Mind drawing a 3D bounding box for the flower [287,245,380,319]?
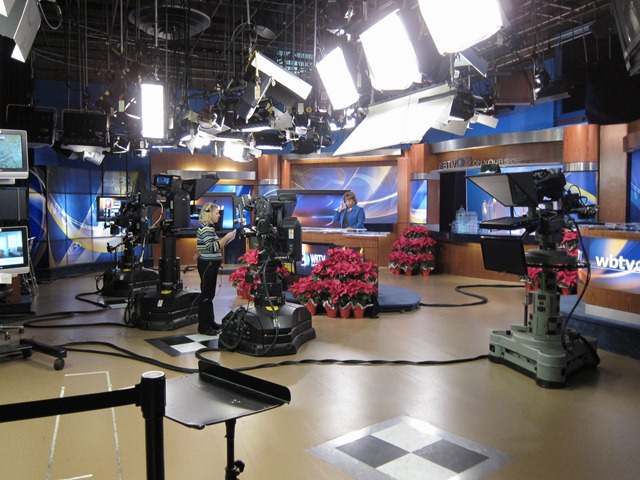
[{"bbox_3d":[0.250,0.639,7.509,0.987,0.746,1.033,1,4,13],"label":"flower"}]

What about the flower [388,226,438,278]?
[{"bbox_3d":[2.094,0.250,11.798,0.998,1.043,1.043,0,4,-6],"label":"flower"}]

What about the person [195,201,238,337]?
[{"bbox_3d":[-1.432,0.365,6.631,0.303,1.646,0.509,-1,4,-14],"label":"person"}]

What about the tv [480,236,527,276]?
[{"bbox_3d":[1.898,0.148,5.323,0.093,0.519,0.698,-7,7,-27],"label":"tv"}]

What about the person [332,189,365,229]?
[{"bbox_3d":[0.621,-0.652,11.025,0.540,0.801,0.941,0,4,-3],"label":"person"}]

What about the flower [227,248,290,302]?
[{"bbox_3d":[-1.014,0.624,8.209,0.839,0.887,0.887,-1,2,-2],"label":"flower"}]
